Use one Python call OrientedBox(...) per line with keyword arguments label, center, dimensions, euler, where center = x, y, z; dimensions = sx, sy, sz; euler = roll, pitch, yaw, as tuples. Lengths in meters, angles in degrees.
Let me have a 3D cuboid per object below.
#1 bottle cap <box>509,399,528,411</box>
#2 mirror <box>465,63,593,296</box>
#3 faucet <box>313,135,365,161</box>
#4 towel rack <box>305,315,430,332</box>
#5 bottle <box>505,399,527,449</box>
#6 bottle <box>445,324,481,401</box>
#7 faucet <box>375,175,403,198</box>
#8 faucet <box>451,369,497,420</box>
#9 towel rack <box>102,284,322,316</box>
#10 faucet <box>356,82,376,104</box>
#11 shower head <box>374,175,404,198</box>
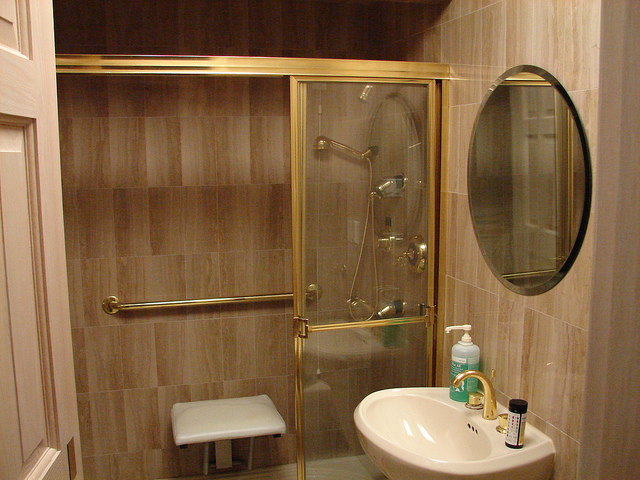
OrientedBox(label="bottle cap", center=(0.661, 0.554, 1.936), dimensions=(0.035, 0.020, 0.037), euler=(1, 6, 5))
OrientedBox(label="mirror", center=(0.715, -0.215, 2.074), dimensions=(0.036, 0.818, 0.615), euler=(-4, 7, -23))
OrientedBox(label="faucet", center=(0.063, -0.389, 2.466), dimensions=(0.238, 0.081, 0.069), euler=(24, -4, -15))
OrientedBox(label="towel rack", center=(0.210, 0.366, 2.526), dimensions=(0.566, 0.033, 0.008), euler=(-3, 6, -12))
OrientedBox(label="bottle", center=(0.670, 0.623, 1.961), dimensions=(0.085, 0.163, 0.052), euler=(-3, 6, -15))
OrientedBox(label="bottle", center=(0.567, 0.489, 2.306), dimensions=(0.129, 0.293, 0.118), euler=(2, 0, 0))
OrientedBox(label="faucet", center=(0.292, -0.235, 2.538), dimensions=(0.114, 0.128, 0.073), euler=(1, 4, -10))
OrientedBox(label="faucet", center=(0.577, 0.578, 2.122), dimensions=(0.153, 0.193, 0.067), euler=(-5, -35, 14))
OrientedBox(label="towel rack", center=(-0.614, 0.310, 2.991), dimensions=(1.082, 0.165, 0.182), euler=(-1, -12, -11))
OrientedBox(label="faucet", center=(0.185, -0.618, 2.410), dimensions=(0.049, 0.083, 0.051), euler=(22, -8, 42))
OrientedBox(label="shower head", center=(0.295, -0.233, 2.541), dimensions=(0.111, 0.132, 0.080), euler=(0, 6, -11))
